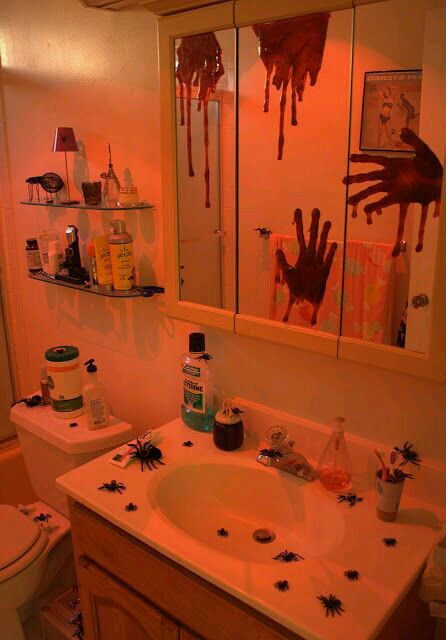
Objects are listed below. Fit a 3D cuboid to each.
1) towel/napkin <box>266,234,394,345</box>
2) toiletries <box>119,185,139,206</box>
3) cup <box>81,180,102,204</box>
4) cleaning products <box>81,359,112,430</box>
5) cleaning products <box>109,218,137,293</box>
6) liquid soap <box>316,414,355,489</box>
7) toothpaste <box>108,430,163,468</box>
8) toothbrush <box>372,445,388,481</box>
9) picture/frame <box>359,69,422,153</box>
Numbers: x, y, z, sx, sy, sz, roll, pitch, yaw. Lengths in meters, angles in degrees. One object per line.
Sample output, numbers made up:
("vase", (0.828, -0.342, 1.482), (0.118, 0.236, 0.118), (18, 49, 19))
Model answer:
("towel/napkin", (0.229, -0.068, 1.015), (0.022, 0.145, 0.207), (-15, 21, -41))
("toiletries", (-0.271, -0.361, 1.430), (0.049, 0.051, 0.052), (1, 11, 7))
("cup", (-0.401, -0.391, 1.530), (0.057, 0.068, 0.085), (-5, 15, -13))
("cleaning products", (-0.388, 0.243, 1.504), (0.072, 0.227, 0.080), (-10, 24, -31))
("cleaning products", (-0.301, -0.193, 1.483), (0.070, 0.208, 0.059), (-5, 14, -14))
("liquid soap", (0.250, 0.303, 1.139), (0.087, 0.147, 0.099), (25, 32, 29))
("toothpaste", (-0.225, 0.319, 1.261), (0.102, 0.059, 0.106), (18, 26, 36))
("toothbrush", (0.312, 0.278, 0.985), (0.017, 0.076, 0.019), (-8, -5, -34))
("picture/frame", (0.289, -0.360, 0.854), (0.019, 0.133, 0.106), (-14, 19, -43))
